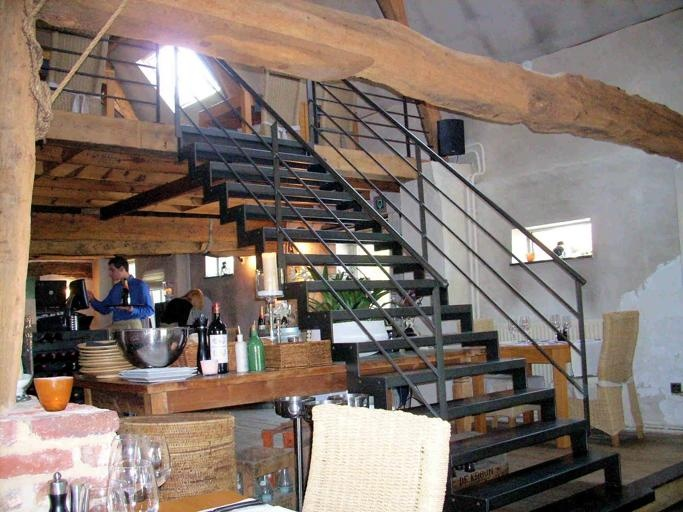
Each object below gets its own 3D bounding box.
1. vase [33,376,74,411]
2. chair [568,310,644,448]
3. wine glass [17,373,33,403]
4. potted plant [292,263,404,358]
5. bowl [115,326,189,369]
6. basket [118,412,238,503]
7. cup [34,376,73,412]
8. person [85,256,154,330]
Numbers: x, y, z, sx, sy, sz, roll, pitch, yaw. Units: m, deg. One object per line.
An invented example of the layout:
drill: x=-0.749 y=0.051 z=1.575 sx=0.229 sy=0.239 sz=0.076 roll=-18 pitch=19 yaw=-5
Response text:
vase: x=-0.972 y=0.471 z=1.959 sx=0.137 sy=0.111 sz=0.132 roll=-6 pitch=-9 yaw=18
chair: x=2.324 y=1.097 z=5.276 sx=0.723 sy=1.043 sz=0.768 roll=1 pitch=-9 yaw=-17
wine glass: x=-1.259 y=0.533 z=2.330 sx=0.097 sy=0.099 sz=0.094 roll=-1 pitch=5 yaw=-30
potted plant: x=-0.045 y=0.306 z=3.792 sx=0.439 sy=0.510 sz=0.802 roll=-7 pitch=-7 yaw=37
bowl: x=-0.990 y=0.465 z=2.941 sx=0.346 sy=0.193 sz=0.333 roll=-4 pitch=0 yaw=0
basket: x=-0.626 y=0.833 z=2.569 sx=0.390 sy=0.269 sz=0.372 roll=-1 pitch=0 yaw=11
cup: x=-0.958 y=0.458 z=1.963 sx=0.130 sy=0.107 sz=0.128 roll=-4 pitch=-5 yaw=0
person: x=-2.286 y=0.347 z=6.001 sx=0.584 sy=0.844 sz=0.901 roll=0 pitch=-10 yaw=-22
